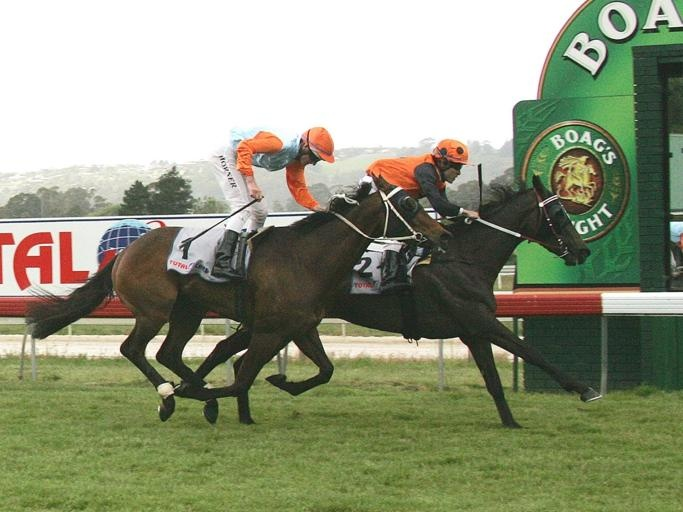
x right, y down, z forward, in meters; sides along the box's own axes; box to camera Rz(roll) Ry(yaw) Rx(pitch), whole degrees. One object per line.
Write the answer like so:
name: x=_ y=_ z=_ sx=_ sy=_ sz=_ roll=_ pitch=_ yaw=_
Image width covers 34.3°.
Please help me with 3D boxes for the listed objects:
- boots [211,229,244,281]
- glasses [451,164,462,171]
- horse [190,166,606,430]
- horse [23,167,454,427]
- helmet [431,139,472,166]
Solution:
boots: x=-0.871 y=-0.011 z=8.524 sx=0.249 sy=0.323 sz=0.151 roll=-6 pitch=2 yaw=-3
glasses: x=0.908 y=-0.705 z=8.702 sx=0.065 sy=0.038 sz=0.044 roll=-15 pitch=16 yaw=-24
horse: x=0.464 y=0.498 z=9.148 sx=3.853 sy=1.729 sz=0.671 roll=-10 pitch=-26 yaw=43
horse: x=-0.809 y=0.293 z=8.637 sx=3.425 sy=1.273 sz=0.624 roll=-3 pitch=-10 yaw=16
helmet: x=0.854 y=-0.813 z=8.688 sx=0.283 sy=0.156 sz=0.265 roll=-4 pitch=2 yaw=3
